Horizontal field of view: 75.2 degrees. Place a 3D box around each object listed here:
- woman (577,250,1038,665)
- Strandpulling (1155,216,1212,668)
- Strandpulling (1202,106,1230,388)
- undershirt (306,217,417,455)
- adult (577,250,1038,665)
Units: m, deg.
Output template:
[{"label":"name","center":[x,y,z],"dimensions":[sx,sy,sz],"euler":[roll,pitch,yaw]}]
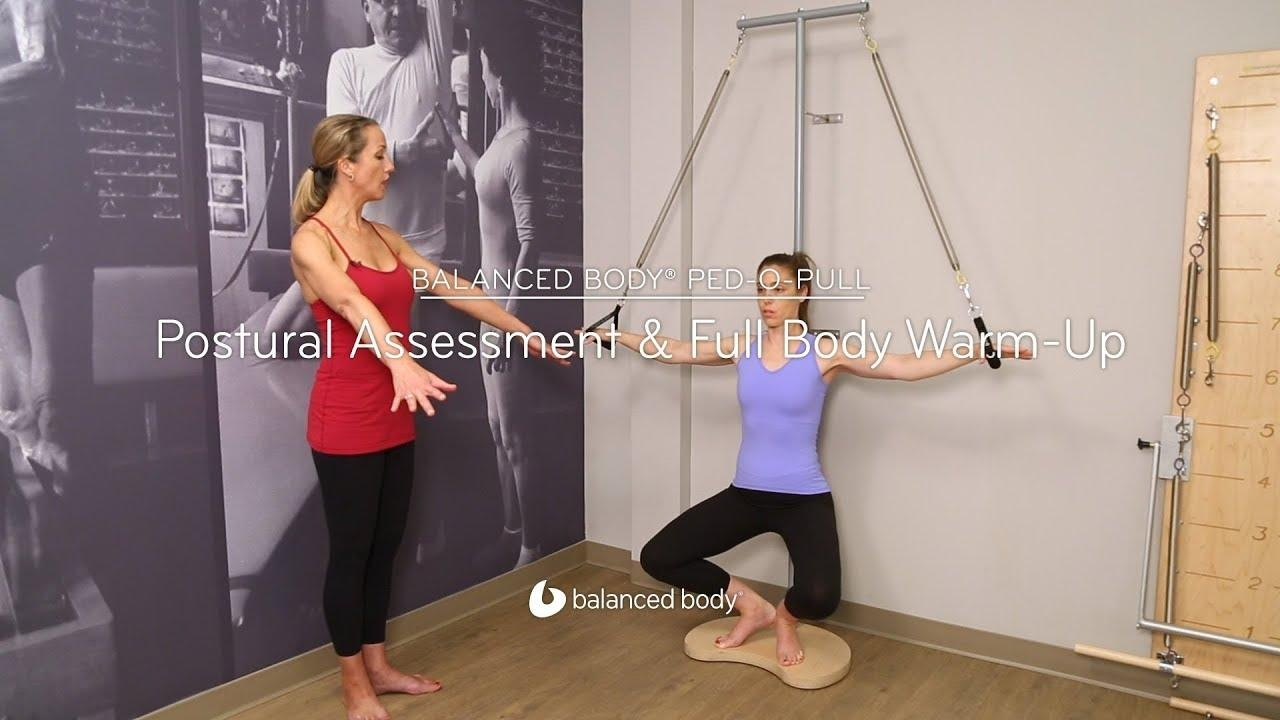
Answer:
[{"label":"woman","center":[0.964,0.521,4.324],"dimensions":[2.382,1.840,0.694],"euler":[0,0,25]},{"label":"Strandpulling","center":[2.501,0.288,3.843],"dimensions":[0.157,1.902,0.076],"euler":[-3,5,-34]},{"label":"Strandpulling","center":[2.597,-0.604,3.792],"dimensions":[0.053,1.109,0.079],"euler":[-2,5,-17]},{"label":"undershirt","center":[-1.283,-0.094,3.837],"dimensions":[0.375,1.042,0.337],"euler":[2,5,30]},{"label":"adult","center":[0.964,0.521,4.324],"dimensions":[2.382,1.840,0.694],"euler":[0,0,25]}]
